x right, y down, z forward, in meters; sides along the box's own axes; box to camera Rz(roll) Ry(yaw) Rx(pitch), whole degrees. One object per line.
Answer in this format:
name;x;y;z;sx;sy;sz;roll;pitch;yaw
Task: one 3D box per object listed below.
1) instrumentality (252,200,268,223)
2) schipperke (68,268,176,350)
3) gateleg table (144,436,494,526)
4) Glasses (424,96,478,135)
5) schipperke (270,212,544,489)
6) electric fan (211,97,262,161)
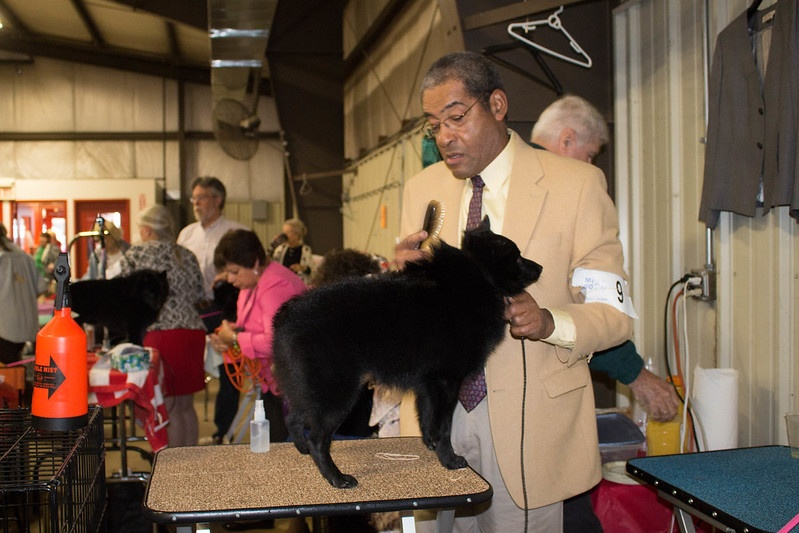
instrumentality;-2.396;-0.967;14.854;0.267;0.336;0.309;0;0;1
schipperke;-2.723;0.370;8.387;0.822;0.926;0.729;10;10;43
gateleg table;-0.591;1.416;5.712;2.130;0.495;0.575;2;-3;-2
Glasses;0.347;-1.000;5.786;0.358;0.229;0.082;0;-2;22
schipperke;0.037;0.552;5.952;1.706;1.754;0.749;-3;21;-5
electric fan;-1.825;-1.533;9.499;0.491;0.544;0.811;2;-3;-13
